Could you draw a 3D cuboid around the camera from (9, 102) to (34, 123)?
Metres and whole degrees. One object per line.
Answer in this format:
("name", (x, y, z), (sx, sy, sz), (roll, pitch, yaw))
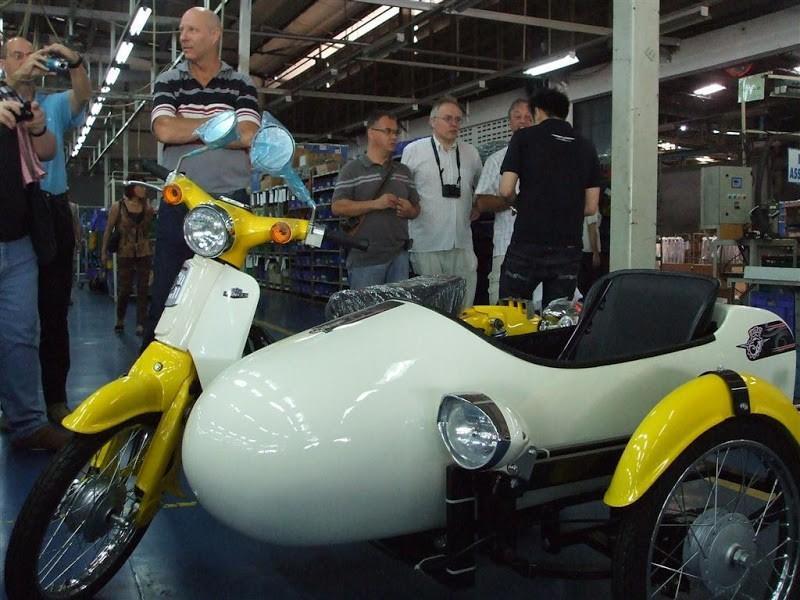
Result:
("camera", (-1.719, -0.847, 3.076), (0.072, 0.111, 0.033), (-1, 6, -36))

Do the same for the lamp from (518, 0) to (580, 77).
("lamp", (2.362, -4.092, 10.610), (0.306, 0.234, 1.610), (11, -4, -14))

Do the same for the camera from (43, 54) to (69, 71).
("camera", (-1.675, -1.145, 3.317), (0.107, 0.078, 0.234), (-3, 8, -25))

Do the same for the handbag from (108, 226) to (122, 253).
("handbag", (-3.333, -0.706, 7.949), (0.121, 0.350, 0.264), (13, -7, -17))

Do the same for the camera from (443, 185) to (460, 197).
("camera", (0.354, -0.737, 4.654), (0.127, 0.105, 0.075), (2, 10, -2))

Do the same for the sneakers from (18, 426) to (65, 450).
("sneakers", (-1.861, 0.729, 3.540), (0.204, 0.083, 0.156), (-14, -14, -36))
